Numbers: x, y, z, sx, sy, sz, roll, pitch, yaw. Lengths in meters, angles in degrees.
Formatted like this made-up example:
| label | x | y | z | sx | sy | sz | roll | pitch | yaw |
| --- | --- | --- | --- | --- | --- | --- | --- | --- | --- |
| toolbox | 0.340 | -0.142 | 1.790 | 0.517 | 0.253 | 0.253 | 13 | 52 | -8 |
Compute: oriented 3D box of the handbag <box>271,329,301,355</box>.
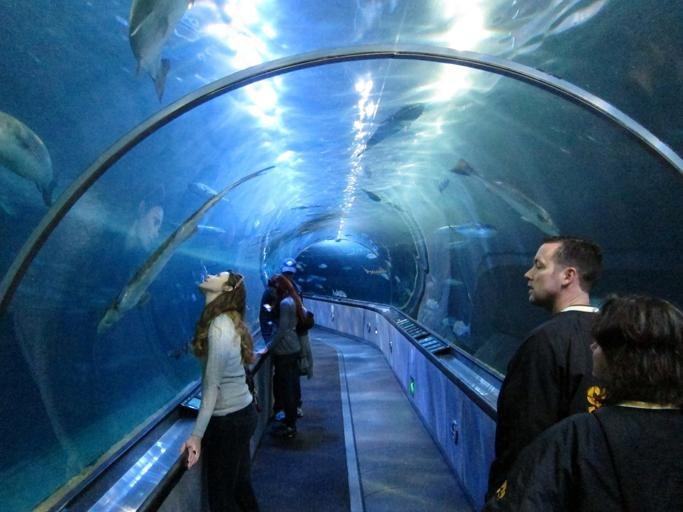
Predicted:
| label | x | y | z | sx | sy | sz | roll | pitch | yaw |
| --- | --- | --- | --- | --- | --- | --- | --- | --- | --- |
| handbag | -0.872 | 1.358 | 6.712 | 0.431 | 0.445 | 0.342 | -3 | 3 | -13 |

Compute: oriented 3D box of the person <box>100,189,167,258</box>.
| label | x | y | z | sx | sy | sz | roll | pitch | yaw |
| --- | --- | --- | --- | --- | --- | --- | --- | --- | --- |
| person | -2.133 | -0.419 | 4.585 | 0.322 | 0.743 | 1.250 | 1 | 1 | -14 |

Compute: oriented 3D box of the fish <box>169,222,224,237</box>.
| label | x | y | z | sx | sy | sz | roll | pitch | yaw |
| --- | --- | --- | --- | --- | --- | --- | --- | --- | --- |
| fish | -2.164 | -0.394 | 6.305 | 0.186 | 0.152 | 0.834 | -32 | -21 | 18 |

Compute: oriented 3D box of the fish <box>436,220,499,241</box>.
| label | x | y | z | sx | sy | sz | roll | pitch | yaw |
| --- | --- | --- | --- | --- | --- | --- | --- | --- | --- |
| fish | 2.442 | -0.500 | 8.178 | 0.506 | 0.368 | 2.153 | 2 | 0 | -12 |

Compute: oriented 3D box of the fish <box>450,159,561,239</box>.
| label | x | y | z | sx | sy | sz | roll | pitch | yaw |
| --- | --- | --- | --- | --- | --- | --- | --- | --- | --- |
| fish | 2.248 | -0.854 | 6.459 | 0.472 | 0.512 | 2.526 | 51 | -1 | -39 |

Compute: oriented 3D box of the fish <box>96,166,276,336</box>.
| label | x | y | z | sx | sy | sz | roll | pitch | yaw |
| --- | --- | --- | --- | --- | --- | --- | --- | --- | --- |
| fish | -2.134 | -0.144 | 5.429 | 0.358 | 2.079 | 0.363 | 29 | -32 | 6 |
